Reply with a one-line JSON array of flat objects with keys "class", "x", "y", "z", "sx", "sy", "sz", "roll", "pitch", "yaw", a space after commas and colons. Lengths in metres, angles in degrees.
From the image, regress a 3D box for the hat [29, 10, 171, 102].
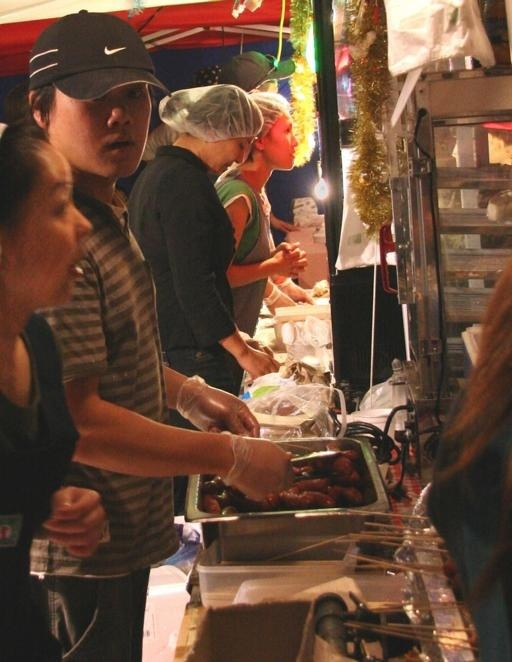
[{"class": "hat", "x": -0.272, "y": -0.407, "z": 0.974, "sx": 0.220, "sy": 0.109, "sz": 0.158, "roll": 1, "pitch": 11, "yaw": 34}]
